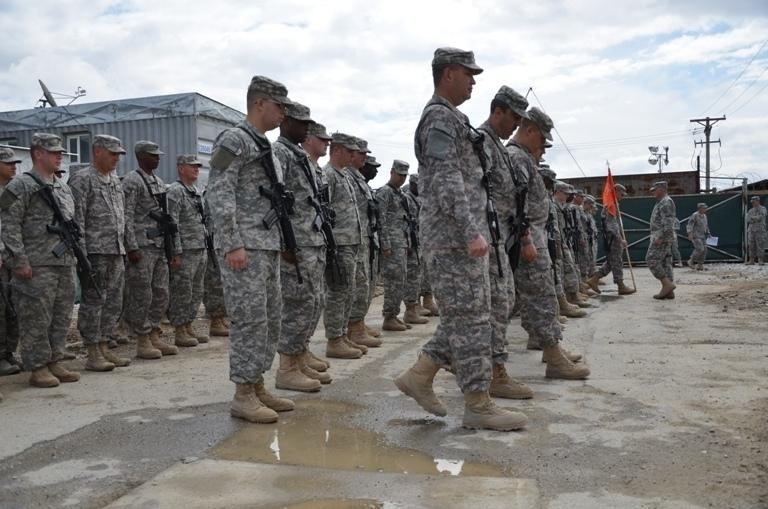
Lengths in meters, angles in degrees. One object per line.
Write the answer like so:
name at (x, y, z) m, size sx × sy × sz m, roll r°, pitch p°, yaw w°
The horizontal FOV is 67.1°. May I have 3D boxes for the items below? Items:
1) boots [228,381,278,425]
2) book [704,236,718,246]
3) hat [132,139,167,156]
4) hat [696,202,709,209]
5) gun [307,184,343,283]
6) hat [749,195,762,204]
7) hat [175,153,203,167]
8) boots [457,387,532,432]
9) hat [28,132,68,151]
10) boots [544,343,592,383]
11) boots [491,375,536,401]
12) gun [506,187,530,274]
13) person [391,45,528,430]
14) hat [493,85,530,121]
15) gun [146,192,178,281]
boots at (-1.068, 1.196, 4.748) m, size 0.524 × 0.297 × 0.183 m, roll 1°, pitch 4°, yaw 42°
book at (10.845, -0.452, 19.263) m, size 0.447 × 0.229 × 0.019 m, roll -7°, pitch -7°, yaw -24°
hat at (-2.942, -1.297, 7.129) m, size 0.450 × 0.176 × 0.301 m, roll -1°, pitch 8°, yaw -23°
hat at (10.454, -1.586, 19.009) m, size 0.470 × 0.115 × 0.340 m, roll -10°, pitch 13°, yaw -42°
gun at (-0.604, -0.169, 5.733) m, size 0.153 × 1.082 × 0.443 m, roll -11°, pitch 6°, yaw 21°
hat at (12.143, -1.761, 18.907) m, size 0.394 × 0.170 × 0.539 m, roll 10°, pitch 14°, yaw 44°
hat at (-2.647, -1.261, 7.798) m, size 0.314 × 0.098 × 0.204 m, roll 2°, pitch 4°, yaw -9°
boots at (0.814, 1.233, 4.536) m, size 0.674 × 0.355 × 0.210 m, roll -2°, pitch -1°, yaw 3°
hat at (-3.369, -1.112, 5.897) m, size 0.420 × 0.187 × 0.300 m, roll -3°, pitch 7°, yaw -34°
boots at (1.791, 1.087, 5.798) m, size 0.524 × 0.293 × 0.161 m, roll 8°, pitch -10°, yaw -13°
boots at (1.125, 1.200, 5.177) m, size 0.483 × 0.181 × 0.153 m, roll 1°, pitch 2°, yaw 5°
gun at (1.170, -0.206, 5.170) m, size 0.216 × 0.736 × 0.351 m, roll 11°, pitch 1°, yaw 17°
person at (0.541, -0.125, 4.541) m, size 0.890 × 3.004 × 0.530 m, roll -5°, pitch 2°, yaw 1°
hat at (1.118, -1.391, 5.166) m, size 0.456 × 0.147 × 0.267 m, roll 27°, pitch 30°, yaw -4°
gun at (-2.843, -0.208, 7.209) m, size 0.190 × 1.168 × 0.558 m, roll -10°, pitch -7°, yaw 43°
